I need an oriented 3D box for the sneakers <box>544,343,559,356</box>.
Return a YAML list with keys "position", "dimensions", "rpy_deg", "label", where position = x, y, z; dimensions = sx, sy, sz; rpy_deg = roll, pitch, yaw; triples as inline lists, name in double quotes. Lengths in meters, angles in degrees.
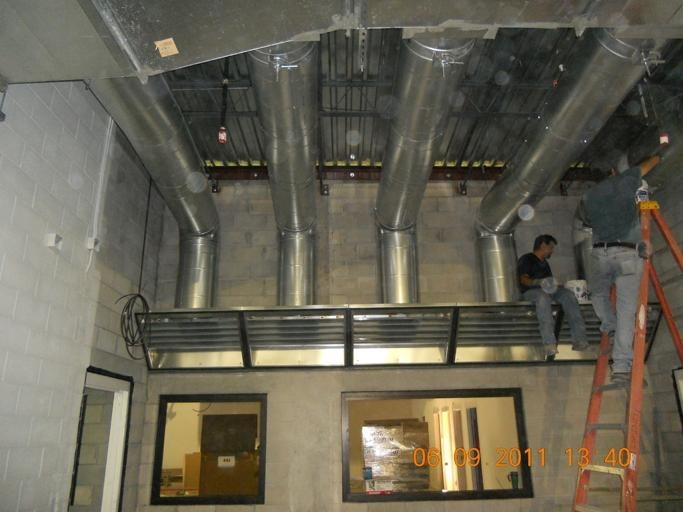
- position: [2.131, 0.941, 5.332]
  dimensions: [0.113, 0.123, 0.124]
  rpy_deg: [-4, -33, 22]
  label: "sneakers"
